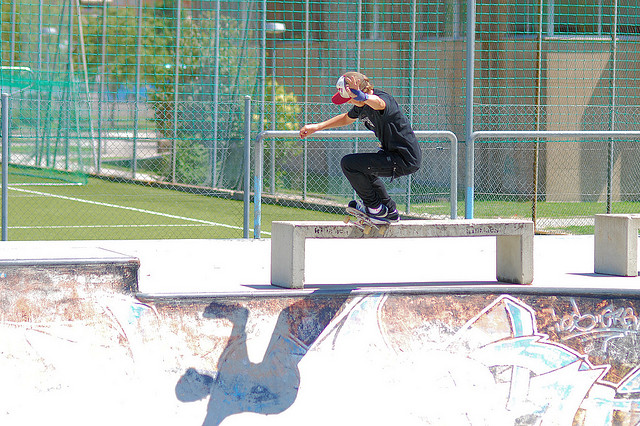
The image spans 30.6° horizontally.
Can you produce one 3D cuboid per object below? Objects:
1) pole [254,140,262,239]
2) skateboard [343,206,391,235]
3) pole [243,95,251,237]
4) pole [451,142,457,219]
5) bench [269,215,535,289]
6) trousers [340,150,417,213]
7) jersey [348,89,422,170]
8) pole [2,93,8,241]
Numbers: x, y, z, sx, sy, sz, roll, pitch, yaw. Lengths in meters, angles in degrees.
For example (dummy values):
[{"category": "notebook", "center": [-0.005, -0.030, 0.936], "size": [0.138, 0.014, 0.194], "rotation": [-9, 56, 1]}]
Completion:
[{"category": "pole", "center": [-1.073, -0.390, 20.103], "size": [0.105, 1.697, 0.425], "rotation": [1, -1, -2]}, {"category": "skateboard", "center": [0.732, 0.130, 18.070], "size": [0.727, 0.429, 0.231], "rotation": [1, -1, -5]}, {"category": "pole", "center": [-1.264, -0.779, 20.171], "size": [0.104, 2.436, 0.328], "rotation": [1, -1, -4]}, {"category": "pole", "center": [2.316, -0.560, 20.148], "size": [0.084, 1.325, 0.114], "rotation": [1, -1, 12]}, {"category": "bench", "center": [1.279, 0.649, 18.076], "size": [4.079, 1.122, 0.353], "rotation": [1, -1, -4]}, {"category": "trousers", "center": [0.829, -0.495, 18.102], "size": [0.994, 0.947, 0.233], "rotation": [1, -1, 1]}, {"category": "jersey", "center": [1.118, -1.302, 18.176], "size": [0.504, 1.806, 0.986], "rotation": [-40, 12, -10]}, {"category": "pole", "center": [-5.378, -0.775, 19.848], "size": [0.114, 2.499, 0.483], "rotation": [2, -2, -17]}]
